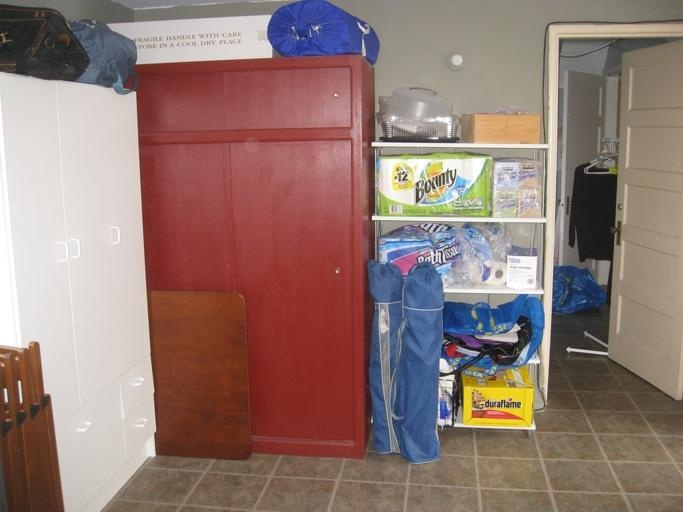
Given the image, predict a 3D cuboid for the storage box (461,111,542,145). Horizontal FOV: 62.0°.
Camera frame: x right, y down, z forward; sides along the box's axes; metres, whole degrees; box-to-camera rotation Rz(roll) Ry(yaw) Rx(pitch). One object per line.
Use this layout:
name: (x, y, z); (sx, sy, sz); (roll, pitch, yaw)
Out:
storage box: (1.050, -0.810, 3.623); (0.419, 0.198, 0.062); (-2, 11, 6)

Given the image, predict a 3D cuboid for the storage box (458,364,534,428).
storage box: (1.002, 0.939, 3.666); (0.388, 0.256, 0.400); (-1, 2, 7)

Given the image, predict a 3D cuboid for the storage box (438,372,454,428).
storage box: (0.686, 0.938, 3.708); (0.115, 0.340, 0.057); (-2, 11, 5)
